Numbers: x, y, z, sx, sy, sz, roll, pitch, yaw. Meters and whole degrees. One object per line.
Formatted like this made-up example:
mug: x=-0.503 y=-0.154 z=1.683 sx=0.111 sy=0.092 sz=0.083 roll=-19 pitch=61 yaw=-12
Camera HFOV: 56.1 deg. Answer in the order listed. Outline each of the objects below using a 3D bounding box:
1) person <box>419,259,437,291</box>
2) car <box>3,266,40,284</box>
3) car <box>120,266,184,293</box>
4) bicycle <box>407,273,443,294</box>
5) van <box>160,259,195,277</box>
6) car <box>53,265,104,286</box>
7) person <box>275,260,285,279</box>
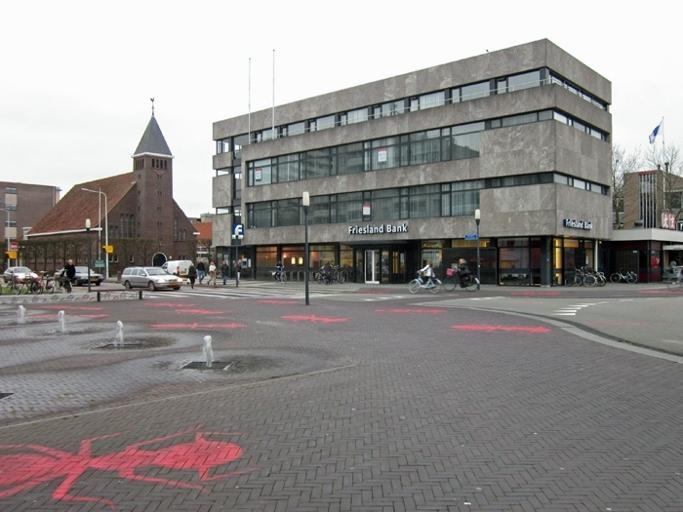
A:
person: x=4.238 y=0.961 z=31.329 sx=0.954 sy=1.171 sz=0.775 roll=1 pitch=4 yaw=13
car: x=-22.801 y=1.292 z=45.433 sx=1.047 sy=0.843 sz=2.633 roll=-1 pitch=6 yaw=-39
car: x=-11.000 y=1.342 z=36.796 sx=3.340 sy=1.118 sz=1.573 roll=-5 pitch=-5 yaw=42
bicycle: x=4.126 y=1.345 z=31.630 sx=1.701 sy=1.037 sz=0.735 roll=-1 pitch=-2 yaw=22
van: x=-12.682 y=1.247 z=49.000 sx=1.948 sy=1.559 sz=3.315 roll=-3 pitch=7 yaw=-38
car: x=-17.919 y=1.284 z=43.855 sx=1.227 sy=0.897 sz=2.838 roll=-1 pitch=5 yaw=-44
person: x=-4.459 y=1.128 z=46.965 sx=0.860 sy=1.006 sz=1.602 roll=1 pitch=-5 yaw=-13
